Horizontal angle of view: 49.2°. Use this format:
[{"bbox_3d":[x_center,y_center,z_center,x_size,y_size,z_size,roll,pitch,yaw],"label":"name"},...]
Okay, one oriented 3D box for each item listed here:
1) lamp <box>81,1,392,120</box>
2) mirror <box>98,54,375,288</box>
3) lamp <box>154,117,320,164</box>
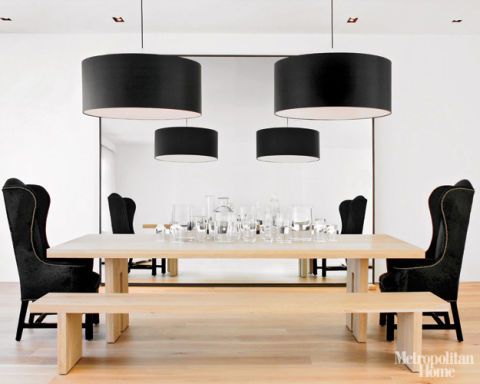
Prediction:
[{"bbox_3d":[-0.016,-1.204,4.609,2.403,1.187,1.575,0,11,-2],"label":"lamp"},{"bbox_3d":[0.013,-0.191,5.320,2.743,2.036,0.043,0,-1,-1],"label":"mirror"},{"bbox_3d":[-0.033,-0.512,5.741,1.591,0.292,0.676,0,-1,0],"label":"lamp"}]
